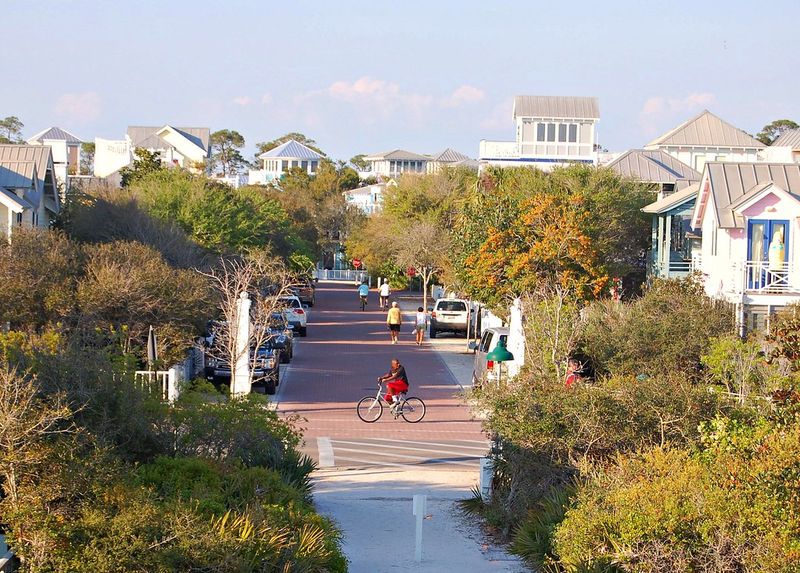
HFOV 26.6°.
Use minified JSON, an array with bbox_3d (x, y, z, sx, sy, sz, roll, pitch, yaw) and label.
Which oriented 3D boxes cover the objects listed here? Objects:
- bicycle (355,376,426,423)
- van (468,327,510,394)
[{"bbox_3d":[-0.188,3.265,46.799,1.758,1.313,0.963,3,-4,-9],"label":"bicycle"},{"bbox_3d":[2.567,1.959,47.737,0.810,1.127,1.957,1,5,-2],"label":"van"}]
